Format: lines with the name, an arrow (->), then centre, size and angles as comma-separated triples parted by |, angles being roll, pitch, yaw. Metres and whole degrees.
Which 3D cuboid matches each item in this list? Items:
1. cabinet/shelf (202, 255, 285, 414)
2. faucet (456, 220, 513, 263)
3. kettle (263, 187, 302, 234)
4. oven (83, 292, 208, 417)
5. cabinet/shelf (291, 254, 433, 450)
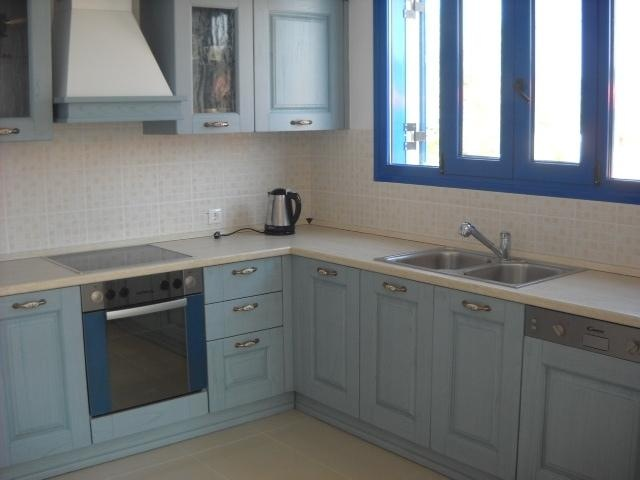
cabinet/shelf -> -0.394, 0.720, 3.518 | 0.518, 0.978, 0.631 | -11, -33, 4
faucet -> 0.925, -0.003, 2.943 | 0.216, 0.197, 0.384 | 11, 17, 42
kettle -> -0.236, -0.202, 3.749 | 0.310, 0.319, 0.200 | 8, 13, 42
oven -> -0.945, 0.560, 3.173 | 0.792, 0.792, 0.547 | -5, 6, -37
cabinet/shelf -> 0.134, 0.638, 3.191 | 1.088, 0.939, 0.443 | 23, -33, -35
